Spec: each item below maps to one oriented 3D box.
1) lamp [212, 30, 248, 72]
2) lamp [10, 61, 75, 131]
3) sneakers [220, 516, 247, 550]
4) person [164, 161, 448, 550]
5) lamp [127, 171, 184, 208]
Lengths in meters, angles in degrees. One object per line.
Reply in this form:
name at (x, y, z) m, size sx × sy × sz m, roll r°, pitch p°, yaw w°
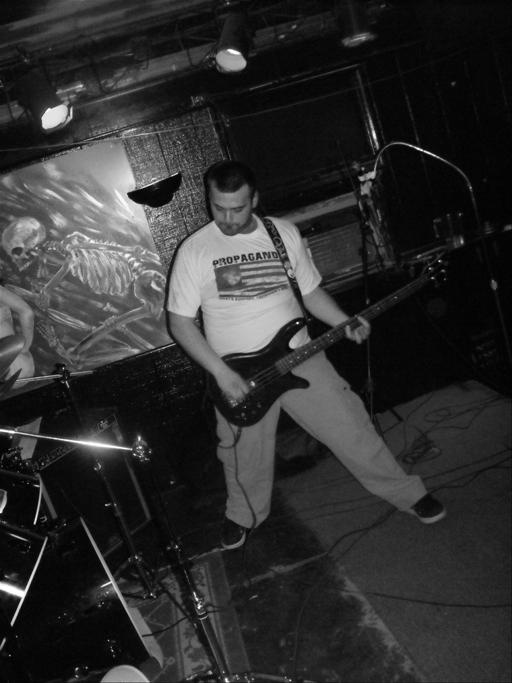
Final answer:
lamp at (-0.152, -1.577, 3.138) m, size 0.155 × 0.135 × 0.177 m, roll 13°, pitch 45°, yaw -8°
lamp at (-1.157, -1.332, 3.048) m, size 0.248 × 0.333 × 0.336 m, roll -24°, pitch 10°, yaw -7°
sneakers at (-0.094, 0.843, 2.535) m, size 0.133 × 0.119 × 0.118 m, roll 24°, pitch -11°, yaw -36°
person at (0.186, 0.041, 2.236) m, size 0.855 × 1.521 × 0.591 m, roll -10°, pitch 2°, yaw -2°
lamp at (-0.584, -0.849, 3.267) m, size 0.231 × 0.088 × 0.232 m, roll -17°, pitch 13°, yaw 37°
